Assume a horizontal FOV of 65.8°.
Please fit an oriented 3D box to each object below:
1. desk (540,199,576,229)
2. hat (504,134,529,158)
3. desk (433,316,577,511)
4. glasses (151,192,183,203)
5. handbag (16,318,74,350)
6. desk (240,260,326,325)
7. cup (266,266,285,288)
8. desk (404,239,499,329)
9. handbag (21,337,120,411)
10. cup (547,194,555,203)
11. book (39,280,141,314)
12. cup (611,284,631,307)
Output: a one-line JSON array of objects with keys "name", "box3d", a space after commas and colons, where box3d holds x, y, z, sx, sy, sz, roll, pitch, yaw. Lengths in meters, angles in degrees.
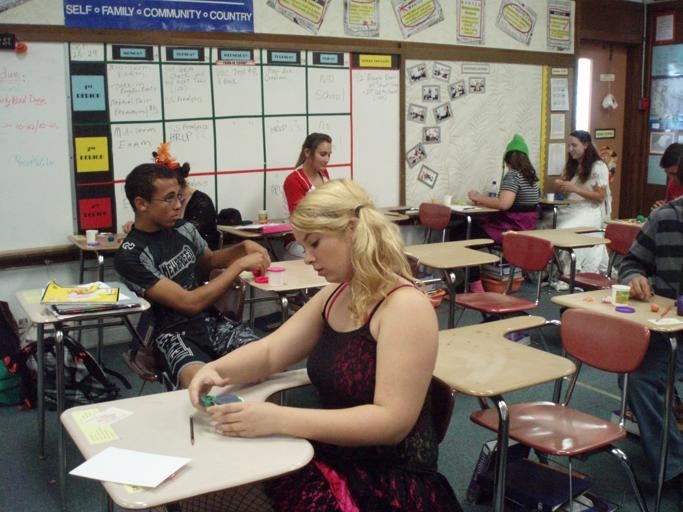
[{"name": "desk", "box3d": [2.509, -0.494, 6.097, 0.329, 0.331, 0.357, -7, 16, -19]}, {"name": "hat", "box3d": [1.849, -1.169, 5.643, 0.228, 0.220, 0.350, 1, 14, 11]}, {"name": "desk", "box3d": [0.637, 0.577, 2.173, 0.671, 0.406, 0.587, -8, 14, -33]}, {"name": "glasses", "box3d": [-0.877, -0.297, 2.677, 0.068, 0.054, 0.158, 3, 11, 24]}, {"name": "handbag", "box3d": [-1.736, 0.463, 3.086, 0.193, 0.066, 0.298, 15, 9, 13]}, {"name": "desk", "box3d": [-0.352, 0.202, 3.064, 0.544, 0.373, 0.442, -5, 9, -39]}, {"name": "cup", "box3d": [-0.373, 0.123, 3.042, 0.110, 0.089, 0.106, 1, 5, 0]}, {"name": "desk", "box3d": [0.865, 0.128, 3.960, 0.772, 0.447, 0.697, -3, 9, -24]}, {"name": "handbag", "box3d": [-1.978, 0.812, 3.569, 0.772, 0.354, 1.028, 0, -14, -14]}, {"name": "cup", "box3d": [2.370, -0.656, 6.049, 0.117, 0.117, 0.116, 0, 6, 0]}, {"name": "book", "box3d": [-1.229, 0.188, 2.606, 0.423, 0.108, 0.391, -5, 11, -21]}, {"name": "cup", "box3d": [1.398, 0.197, 2.648, 0.099, 0.088, 0.096, -2, 5, 0]}]
